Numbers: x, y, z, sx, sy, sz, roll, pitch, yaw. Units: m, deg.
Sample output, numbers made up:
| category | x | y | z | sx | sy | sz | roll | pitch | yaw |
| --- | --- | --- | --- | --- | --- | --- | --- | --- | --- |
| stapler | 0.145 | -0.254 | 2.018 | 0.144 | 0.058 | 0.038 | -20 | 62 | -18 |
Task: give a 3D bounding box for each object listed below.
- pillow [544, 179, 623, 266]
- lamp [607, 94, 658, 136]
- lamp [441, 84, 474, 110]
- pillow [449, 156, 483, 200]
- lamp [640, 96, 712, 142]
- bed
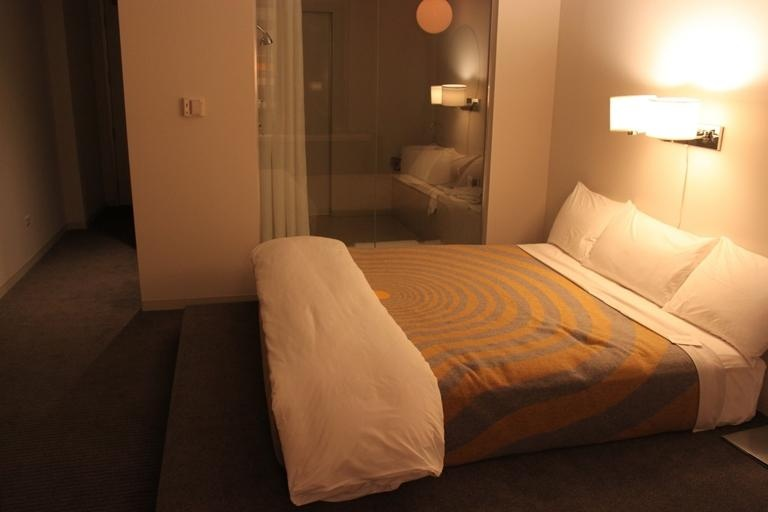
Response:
| category | x | y | z | sx | sy | sz | roll | pitch | yaw |
| --- | --- | --- | --- | --- | --- | --- | --- | --- | --- |
| pillow | 1.622 | -0.272 | 4.336 | 0.165 | 0.582 | 0.570 | 24 | 15 | -24 |
| lamp | 1.894 | -1.060 | 4.041 | 0.297 | 0.311 | 0.280 | 3 | 12 | -16 |
| lamp | 0.676 | -1.449 | 4.801 | 0.162 | 0.188 | 0.274 | -5 | 15 | -20 |
| pillow | 0.812 | -0.709 | 4.949 | 0.278 | 0.409 | 0.118 | 13 | 3 | 3 |
| lamp | 1.947 | -0.907 | 3.556 | 0.312 | 0.216 | 0.311 | 14 | 26 | 34 |
| bed | 0.426 | 0.597 | 2.888 | 1.710 | 0.459 | 1.871 | 3 | 31 | -14 |
